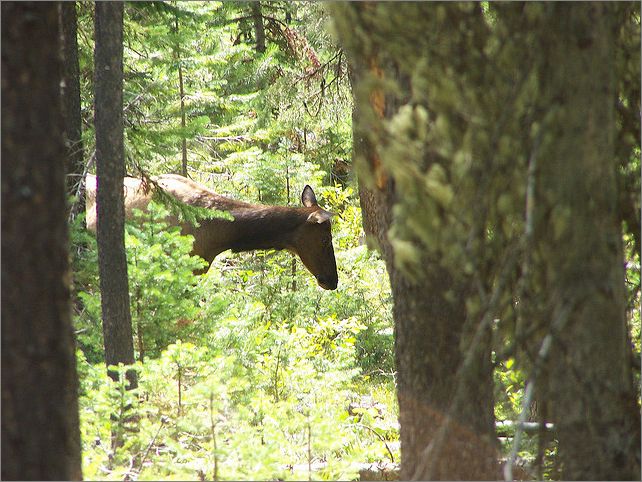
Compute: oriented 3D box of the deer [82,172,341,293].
[{"bbox_3d":[-1.066,-0.063,14.419,2.711,1.358,1.290,2,2,-8],"label":"deer"}]
